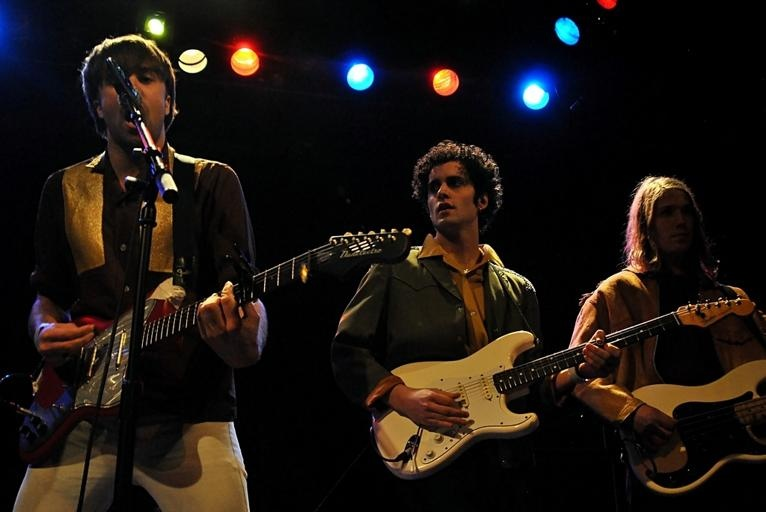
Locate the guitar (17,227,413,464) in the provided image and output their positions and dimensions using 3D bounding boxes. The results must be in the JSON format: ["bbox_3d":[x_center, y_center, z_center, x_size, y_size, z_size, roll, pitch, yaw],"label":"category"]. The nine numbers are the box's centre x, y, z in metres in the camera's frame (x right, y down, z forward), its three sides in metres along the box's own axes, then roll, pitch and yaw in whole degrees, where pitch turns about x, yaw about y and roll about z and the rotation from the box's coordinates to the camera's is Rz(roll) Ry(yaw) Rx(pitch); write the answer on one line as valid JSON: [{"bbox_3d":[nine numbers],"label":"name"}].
[{"bbox_3d":[-1.176,0.678,3.793,2.808,0.951,0.378,-24,-26,16],"label":"guitar"}]
